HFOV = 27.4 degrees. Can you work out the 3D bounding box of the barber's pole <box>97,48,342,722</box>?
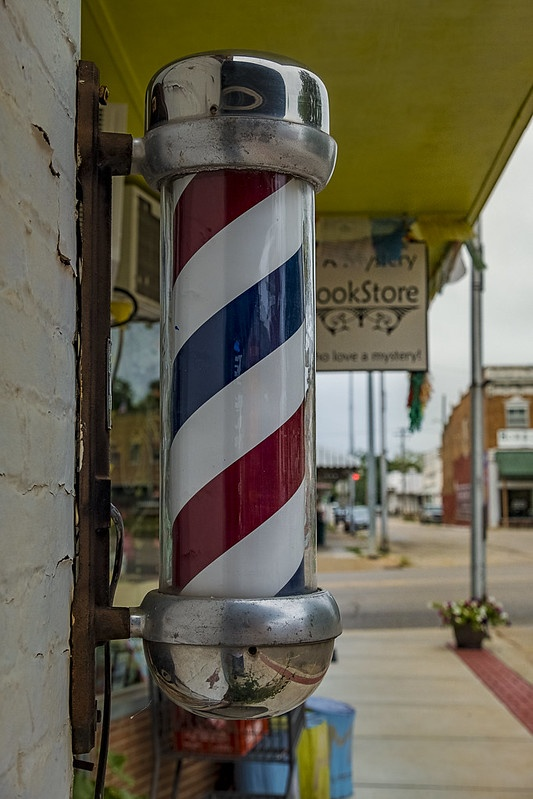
[{"bbox_3d":[-0.045,-0.011,1.021,0.229,0.599,0.149,-1,-4,-4],"label":"barber's pole"}]
